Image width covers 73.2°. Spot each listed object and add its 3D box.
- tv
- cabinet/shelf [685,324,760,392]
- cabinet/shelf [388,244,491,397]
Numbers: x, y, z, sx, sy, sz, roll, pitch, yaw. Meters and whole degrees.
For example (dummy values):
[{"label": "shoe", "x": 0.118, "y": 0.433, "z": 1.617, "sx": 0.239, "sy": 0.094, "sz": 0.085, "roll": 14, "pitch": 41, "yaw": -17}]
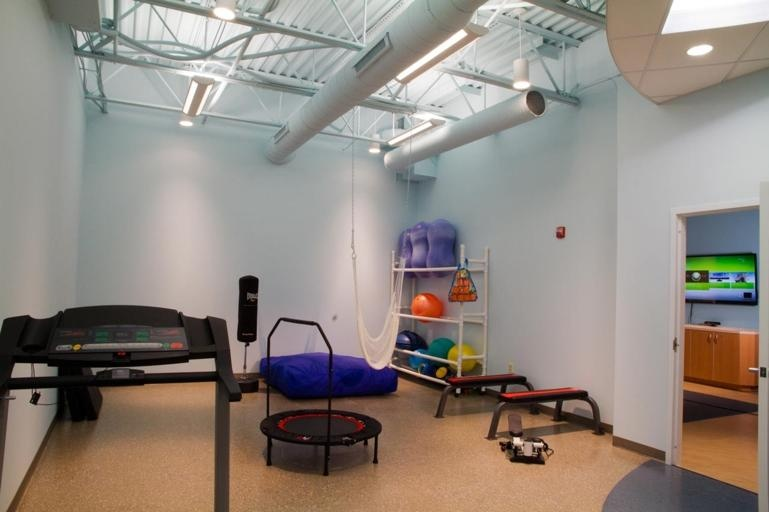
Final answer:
[{"label": "tv", "x": 6.073, "y": 0.412, "z": 9.251, "sx": 0.101, "sy": 0.718, "sz": 0.975, "roll": 14, "pitch": -9, "yaw": -37}, {"label": "cabinet/shelf", "x": 5.973, "y": 1.786, "z": 9.171, "sx": 0.677, "sy": 1.014, "sz": 1.233, "roll": 3, "pitch": -3, "yaw": -34}, {"label": "cabinet/shelf", "x": 0.941, "y": 1.087, "z": 8.592, "sx": 0.828, "sy": 2.652, "sz": 2.347, "roll": 0, "pitch": -2, "yaw": -30}]
